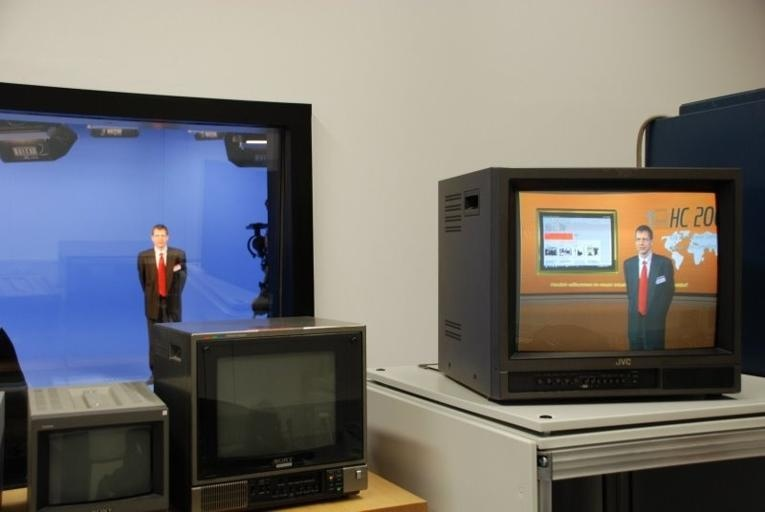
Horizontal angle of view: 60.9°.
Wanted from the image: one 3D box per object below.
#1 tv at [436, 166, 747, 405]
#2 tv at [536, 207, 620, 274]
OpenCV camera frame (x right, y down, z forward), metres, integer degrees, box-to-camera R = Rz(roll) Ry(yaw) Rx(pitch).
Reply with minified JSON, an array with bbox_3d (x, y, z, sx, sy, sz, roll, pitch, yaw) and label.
[{"bbox_3d":[0.608,0.085,2.116,0.853,0.765,0.638,0,-4,-9],"label":"tv"},{"bbox_3d":[0.536,-0.038,1.815,0.184,0.134,0.019,1,-4,-4],"label":"tv"}]
